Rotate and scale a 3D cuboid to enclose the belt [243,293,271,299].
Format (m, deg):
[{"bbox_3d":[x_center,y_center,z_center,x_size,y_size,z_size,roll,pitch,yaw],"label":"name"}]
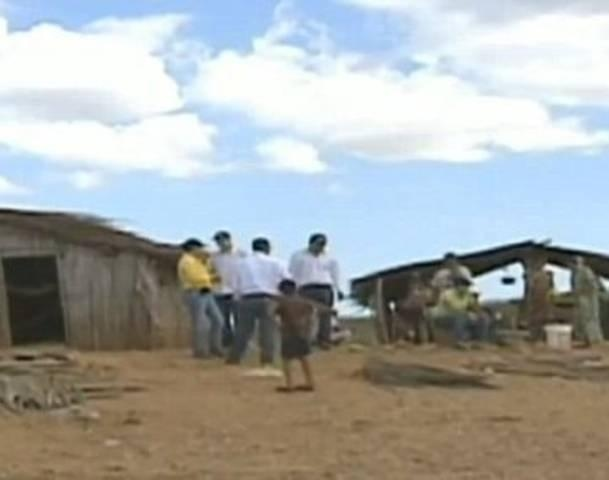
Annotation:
[{"bbox_3d":[-0.623,0.777,17.817,0.377,0.072,0.068,-2,-5,0],"label":"belt"}]

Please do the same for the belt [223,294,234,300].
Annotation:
[{"bbox_3d":[-1.104,0.852,19.207,0.177,0.120,0.092,2,18,1],"label":"belt"}]

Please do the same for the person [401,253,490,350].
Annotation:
[{"bbox_3d":[2.353,1.017,21.697,1.431,1.418,0.547,-3,-5,8],"label":"person"}]

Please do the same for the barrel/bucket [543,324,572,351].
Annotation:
[{"bbox_3d":[4.164,1.599,21.189,0.440,0.406,0.388,-3,-5,6],"label":"barrel/bucket"}]

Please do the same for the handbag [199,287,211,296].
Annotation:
[{"bbox_3d":[-1.425,0.745,18.750,0.108,0.109,0.026,-3,-29,-3],"label":"handbag"}]
